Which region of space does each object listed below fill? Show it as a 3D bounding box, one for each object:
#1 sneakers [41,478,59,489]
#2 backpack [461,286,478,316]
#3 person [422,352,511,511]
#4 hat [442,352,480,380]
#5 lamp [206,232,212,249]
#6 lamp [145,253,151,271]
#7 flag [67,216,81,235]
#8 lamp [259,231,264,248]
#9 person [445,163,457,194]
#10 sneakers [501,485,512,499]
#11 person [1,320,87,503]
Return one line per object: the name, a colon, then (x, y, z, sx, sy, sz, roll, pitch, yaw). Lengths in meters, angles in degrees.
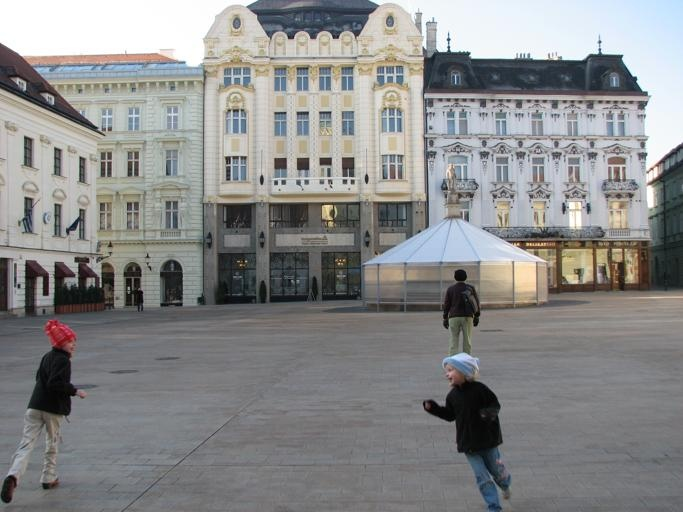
sneakers: (-4.169, 3.273, 12.042, 0.089, 0.107, 0.248, 2, 0, 22)
backpack: (2.973, 1.027, 19.231, 0.341, 0.659, 0.263, -1, -2, -35)
person: (1.770, 2.362, 11.208, 1.176, 2.145, 0.677, 0, -3, -44)
hat: (1.597, 1.453, 11.129, 0.385, 0.270, 0.339, 12, -8, 8)
lamp: (-9.172, -1.145, 58.524, 0.480, 1.225, 0.319, -1, -2, -13)
lamp: (-13.394, 0.375, 58.323, 0.396, 1.176, 0.258, -1, -2, -33)
flag: (-15.426, -1.817, 48.576, 0.613, 1.188, 2.025, -2, -2, -4)
lamp: (-5.511, -1.195, 58.629, 0.394, 1.133, 0.294, -1, -2, -10)
person: (5.687, -4.048, 43.274, 0.344, 1.487, 0.817, -2, -2, 4)
sneakers: (2.233, 3.217, 11.337, 0.146, 0.237, 0.160, -1, -1, 2)
person: (-4.229, 2.180, 11.956, 1.035, 2.500, 0.567, -1, -2, -23)
